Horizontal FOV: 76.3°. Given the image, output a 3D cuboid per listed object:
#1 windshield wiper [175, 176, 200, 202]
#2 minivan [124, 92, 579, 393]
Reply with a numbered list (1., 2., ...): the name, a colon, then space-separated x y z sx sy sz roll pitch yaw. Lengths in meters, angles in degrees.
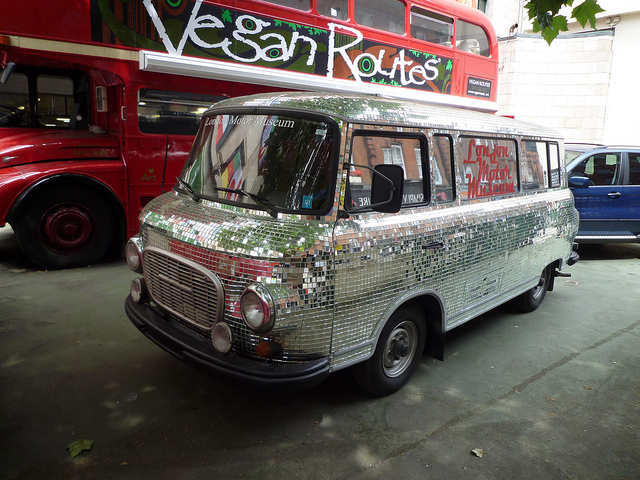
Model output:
1. windshield wiper: -1.389 -0.529 4.290 0.391 0.083 0.069 46 16 28
2. minivan: 0.887 0.001 4.959 5.054 2.406 2.775 -8 14 -40
